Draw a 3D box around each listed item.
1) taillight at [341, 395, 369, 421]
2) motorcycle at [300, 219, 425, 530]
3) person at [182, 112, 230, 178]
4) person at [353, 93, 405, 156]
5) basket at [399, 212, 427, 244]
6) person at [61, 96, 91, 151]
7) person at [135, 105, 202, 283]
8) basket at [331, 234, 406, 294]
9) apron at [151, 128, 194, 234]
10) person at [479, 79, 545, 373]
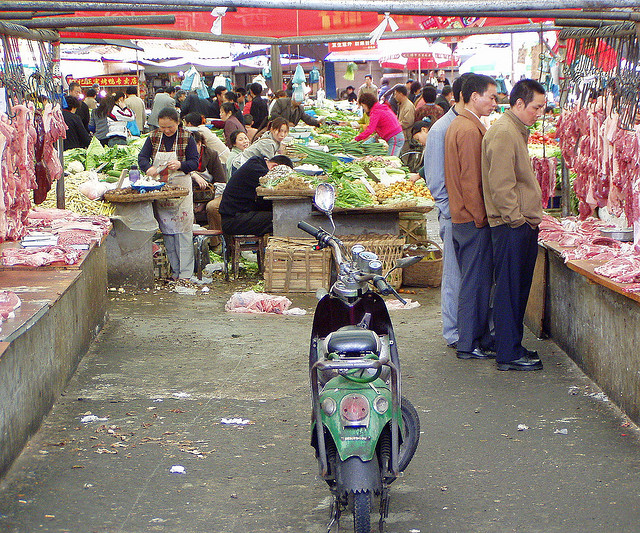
[{"bbox_3d":[0.155,0.626,3.303,0.108,0.098,0.033,-4,-12,1],"label":"taillight"},{"bbox_3d":[0.202,0.470,3.832,0.717,1.003,1.533,1,17,3],"label":"motorcycle"},{"bbox_3d":[-1.842,-2.050,11.564,0.578,0.636,1.150,1,4,1],"label":"person"},{"bbox_3d":[1.080,-2.580,13.425,0.798,1.141,1.345,1,12,10],"label":"person"},{"bbox_3d":[1.080,-0.563,9.152,0.476,0.331,0.446,-3,-26,0],"label":"basket"},{"bbox_3d":[-4.123,-2.403,12.313,0.423,0.892,1.337,-5,13,-17],"label":"person"},{"bbox_3d":[-1.909,-0.905,9.351,0.761,2.162,0.689,-4,14,-12],"label":"person"},{"bbox_3d":[0.600,-0.012,8.469,0.764,0.640,0.727,0,5,2],"label":"basket"},{"bbox_3d":[-1.867,-1.024,9.335,0.494,1.180,0.477,-3,13,-14],"label":"apron"},{"bbox_3d":[1.547,-0.325,5.874,0.579,2.277,0.632,2,14,11],"label":"person"}]
